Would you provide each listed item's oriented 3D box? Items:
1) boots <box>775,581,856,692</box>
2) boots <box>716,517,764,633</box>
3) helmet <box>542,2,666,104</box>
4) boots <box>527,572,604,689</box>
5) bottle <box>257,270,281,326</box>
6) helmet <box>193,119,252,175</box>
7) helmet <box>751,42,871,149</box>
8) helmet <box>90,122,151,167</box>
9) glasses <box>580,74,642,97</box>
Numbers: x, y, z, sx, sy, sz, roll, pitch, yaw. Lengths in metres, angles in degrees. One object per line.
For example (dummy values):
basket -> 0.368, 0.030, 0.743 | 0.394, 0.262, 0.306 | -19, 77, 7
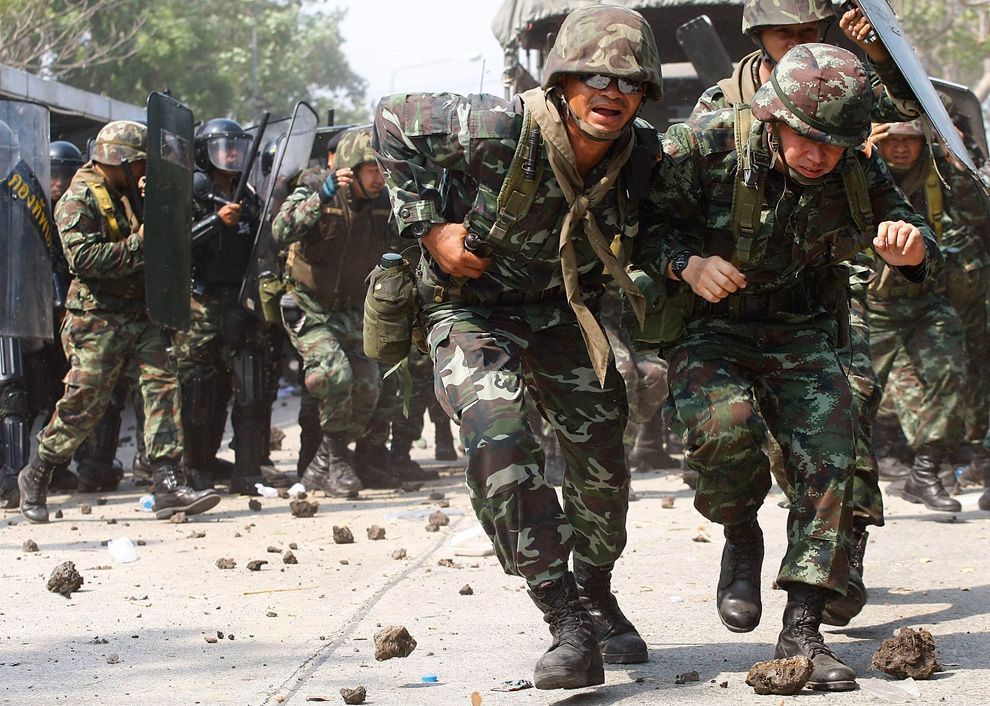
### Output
boots -> 1.142, 1.005, 4.514 | 0.277, 0.348, 0.252 | -1, 3, 8
boots -> 0.972, 0.858, 4.894 | 0.155, 0.181, 0.491 | 1, 17, 13
helmet -> 0.391, -1.122, 4.655 | 0.352, 0.229, 0.341 | 4, -7, -9
boots -> 0.258, 0.990, 4.446 | 0.254, 0.414, 0.273 | -1, 3, 0
bottle -> -1.510, -0.381, 8.672 | 0.116, 0.291, 0.241 | -11, -12, 24
helmet -> -1.961, -1.486, 9.244 | 0.383, 0.314, 0.404 | 0, -1, -31
helmet -> 1.202, -0.933, 4.589 | 0.430, 0.302, 0.355 | 29, 40, 33
helmet -> -2.315, -1.305, 7.933 | 0.384, 0.270, 0.281 | 17, 1, -8
glasses -> 0.425, -0.965, 4.600 | 0.232, 0.080, 0.076 | -1, 4, -4
